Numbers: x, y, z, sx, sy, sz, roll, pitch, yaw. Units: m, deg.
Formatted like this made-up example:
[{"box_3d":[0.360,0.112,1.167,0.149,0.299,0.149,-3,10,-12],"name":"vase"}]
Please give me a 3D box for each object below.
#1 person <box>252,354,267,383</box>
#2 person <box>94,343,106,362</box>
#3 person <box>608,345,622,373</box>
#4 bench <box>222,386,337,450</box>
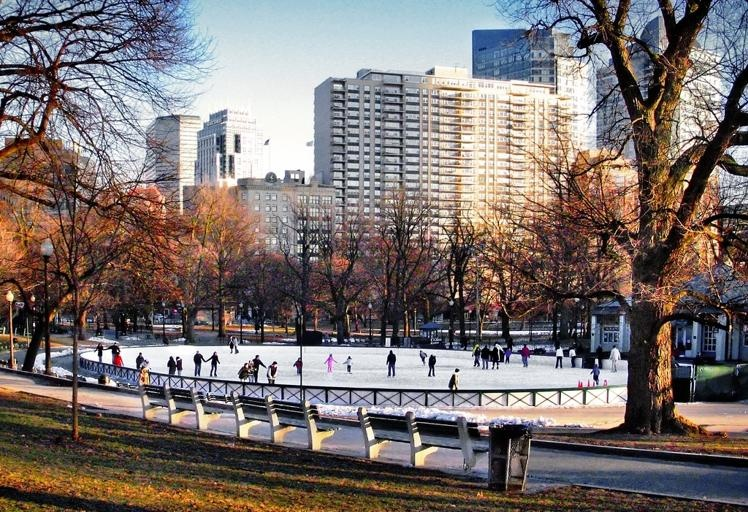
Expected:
[{"box_3d":[-5.928,5.847,59.793,0.918,1.364,0.372,6,15,16],"name":"person"},{"box_3d":[-16.288,5.746,68.665,0.853,1.541,0.515,0,-11,-16],"name":"person"},{"box_3d":[12.883,5.572,62.177,0.470,1.305,2.585,1,-5,12],"name":"person"},{"box_3d":[-2.937,5.192,36.906,3.677,1.488,1.275,0,-1,45],"name":"bench"}]
